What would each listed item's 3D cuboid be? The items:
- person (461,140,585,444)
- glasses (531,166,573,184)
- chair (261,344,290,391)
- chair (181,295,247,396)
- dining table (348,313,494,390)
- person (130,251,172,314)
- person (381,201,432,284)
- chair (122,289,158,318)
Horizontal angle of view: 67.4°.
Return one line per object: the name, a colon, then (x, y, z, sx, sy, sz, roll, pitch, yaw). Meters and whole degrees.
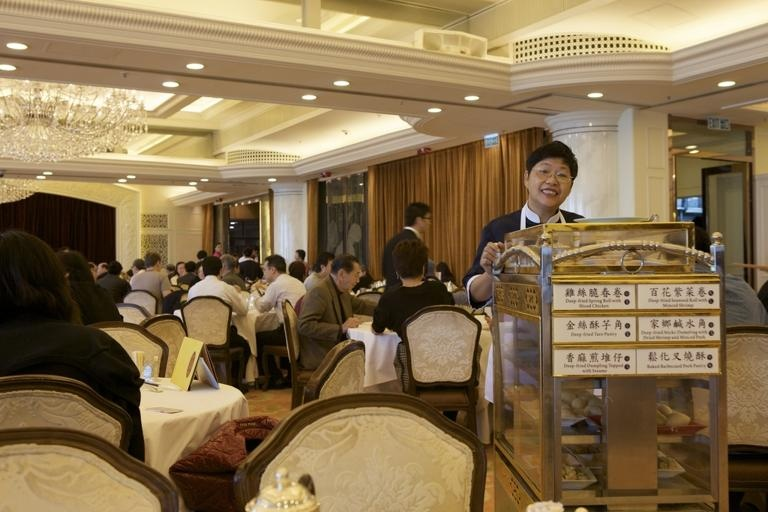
person: (0.579, 0.182, 2.268, 0.548, 1.226, 0.471, 3, 0, 1)
glasses: (0.639, -0.313, 2.194, 0.088, 0.027, 0.090, 2, -10, 2)
chair: (-1.226, 1.257, 6.497, 0.426, 0.426, 0.635, 3, -14, -13)
chair: (-1.764, 0.917, 5.857, 0.602, 0.984, 0.636, -1, -4, -5)
dining table: (0.334, 0.783, 4.454, 0.968, 0.348, 0.997, 10, 3, 4)
person: (-3.515, 0.473, 8.825, 0.643, 1.035, 0.560, 2, 22, 3)
person: (0.253, 0.155, 6.000, 0.493, 1.410, 0.471, 0, 1, -9)
chair: (-2.707, 0.520, 6.364, 0.323, 0.514, 0.305, 4, -4, -24)
